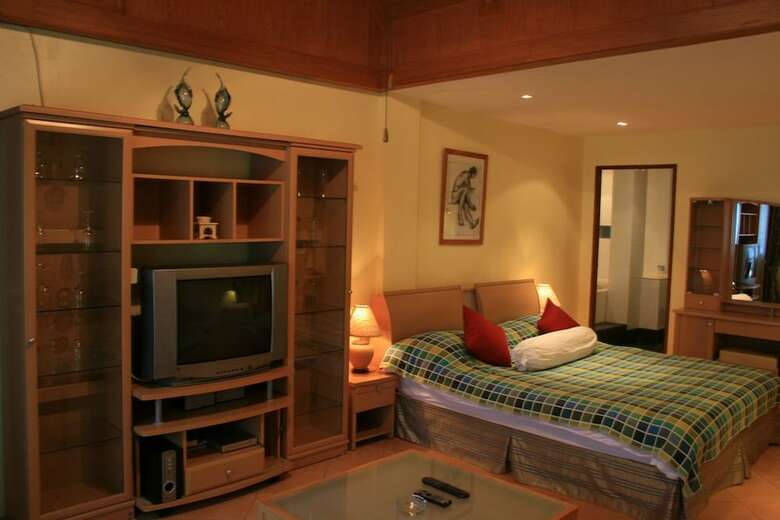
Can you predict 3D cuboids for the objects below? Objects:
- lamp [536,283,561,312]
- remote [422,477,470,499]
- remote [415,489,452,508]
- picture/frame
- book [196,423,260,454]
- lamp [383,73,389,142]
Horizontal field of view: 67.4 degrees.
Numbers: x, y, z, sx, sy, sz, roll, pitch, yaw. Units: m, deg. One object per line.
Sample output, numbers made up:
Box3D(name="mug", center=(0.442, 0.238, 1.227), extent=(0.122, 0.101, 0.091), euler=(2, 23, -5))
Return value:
Box3D(name="lamp", center=(1.883, 0.448, 7.055), extent=(0.317, 0.253, 0.303), euler=(-8, -1, -18))
Box3D(name="remote", center=(0.365, 1.479, 3.822), extent=(0.228, 0.024, 0.074), euler=(4, 5, 41))
Box3D(name="remote", center=(0.269, 1.503, 3.704), extent=(0.187, 0.043, 0.087), euler=(8, 8, 43))
Box3D(name="picture/frame", center=(0.798, -0.675, 6.290), extent=(0.106, 1.006, 0.722), euler=(4, 7, 44))
Box3D(name="book", center=(-1.254, 1.371, 4.518), extent=(0.237, 0.051, 0.220), euler=(7, 10, 39))
Box3D(name="lamp", center=(-0.028, -1.452, 5.610), extent=(0.073, 0.653, 0.159), euler=(-1, 5, -1))
